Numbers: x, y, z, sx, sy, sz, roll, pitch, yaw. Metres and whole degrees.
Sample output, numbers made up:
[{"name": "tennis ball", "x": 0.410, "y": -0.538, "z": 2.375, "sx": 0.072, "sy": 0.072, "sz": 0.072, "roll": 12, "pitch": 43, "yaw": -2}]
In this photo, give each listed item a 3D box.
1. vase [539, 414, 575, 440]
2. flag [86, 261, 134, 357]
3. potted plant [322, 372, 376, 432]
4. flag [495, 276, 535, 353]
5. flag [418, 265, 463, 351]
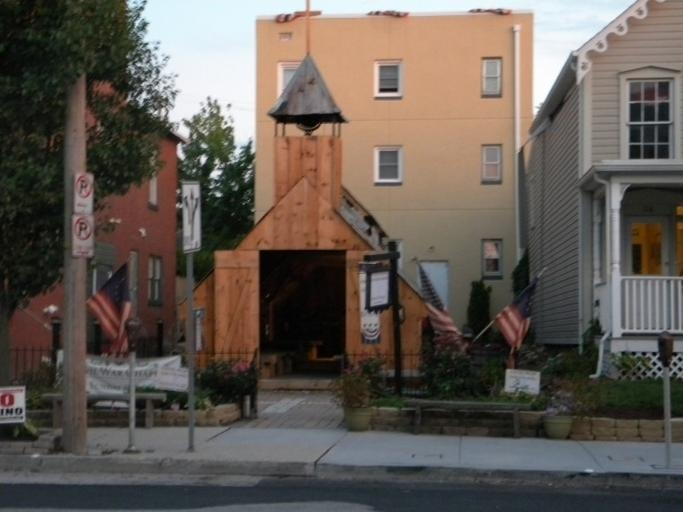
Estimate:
[{"name": "vase", "x": 4.220, "y": 3.360, "z": 24.315, "sx": 0.466, "sy": 0.349, "sz": 0.463, "roll": 4, "pitch": -6, "yaw": -20}, {"name": "flag", "x": -4.891, "y": 1.133, "z": 26.321, "sx": 0.877, "sy": 1.917, "sz": 0.699, "roll": -1, "pitch": -5, "yaw": -5}, {"name": "potted plant", "x": 0.128, "y": 2.982, "z": 25.692, "sx": 0.973, "sy": 1.365, "sz": 1.200, "roll": 1, "pitch": -3, "yaw": -7}, {"name": "flag", "x": 3.820, "y": 1.279, "z": 27.008, "sx": 0.963, "sy": 1.633, "sz": 1.488, "roll": -2, "pitch": -5, "yaw": 8}, {"name": "flag", "x": 2.445, "y": 1.377, "z": 31.778, "sx": 0.693, "sy": 2.577, "sz": 0.284, "roll": -22, "pitch": -30, "yaw": 7}]
